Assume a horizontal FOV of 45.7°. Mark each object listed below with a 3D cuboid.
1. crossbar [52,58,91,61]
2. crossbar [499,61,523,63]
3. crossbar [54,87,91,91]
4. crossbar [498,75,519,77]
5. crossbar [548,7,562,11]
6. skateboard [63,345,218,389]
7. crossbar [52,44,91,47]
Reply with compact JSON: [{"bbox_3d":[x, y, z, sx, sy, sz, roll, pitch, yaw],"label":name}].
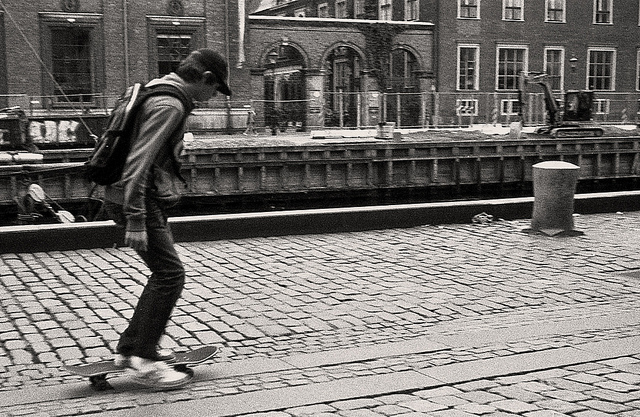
[{"bbox_3d":[-9.368,-5.620,28.592,1.332,0.095,0.169,-5,10,-37],"label":"crossbar"},{"bbox_3d":[9.711,-7.596,39.157,1.291,0.101,0.028,-3,10,-19],"label":"crossbar"},{"bbox_3d":[-9.329,-4.517,28.563,1.277,0.143,0.195,-6,11,-38],"label":"crossbar"},{"bbox_3d":[9.705,-6.879,39.199,1.216,0.121,0.091,-3,11,-24],"label":"crossbar"},{"bbox_3d":[12.322,-10.434,39.701,0.899,0.132,0.040,-3,12,-23],"label":"crossbar"},{"bbox_3d":[-1.279,1.329,6.563,1.749,0.173,0.369,-1,10,-17],"label":"skateboard"},{"bbox_3d":[-9.440,-6.184,28.680,1.348,0.097,0.156,-4,10,-32],"label":"crossbar"}]
